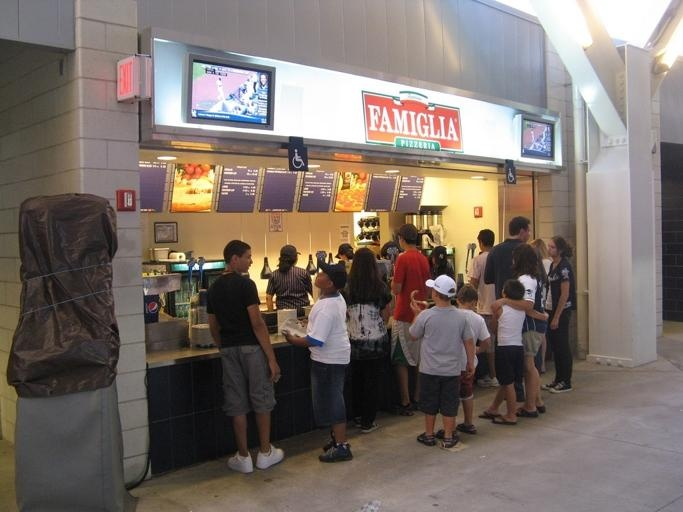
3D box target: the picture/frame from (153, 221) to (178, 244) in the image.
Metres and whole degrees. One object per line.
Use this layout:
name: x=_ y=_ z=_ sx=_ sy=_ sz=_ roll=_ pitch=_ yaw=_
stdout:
picture/frame: x=-2.304 y=-0.321 z=6.954 sx=0.253 sy=0.260 sz=0.020 roll=6 pitch=1 yaw=-37

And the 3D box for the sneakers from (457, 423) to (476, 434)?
sneakers: x=1.163 y=1.596 z=5.013 sx=0.080 sy=0.069 sz=0.161 roll=-3 pitch=9 yaw=-40

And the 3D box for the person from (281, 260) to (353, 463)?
person: x=-0.179 y=0.872 z=4.635 sx=0.502 sy=1.682 sz=0.416 roll=-2 pitch=3 yaw=0

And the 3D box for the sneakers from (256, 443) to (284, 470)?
sneakers: x=-0.595 y=1.669 z=4.516 sx=0.103 sy=0.139 sz=0.277 roll=5 pitch=8 yaw=30

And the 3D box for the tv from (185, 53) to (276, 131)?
tv: x=-0.991 y=-1.409 z=4.608 sx=0.709 sy=0.536 sz=0.098 roll=-3 pitch=8 yaw=-33

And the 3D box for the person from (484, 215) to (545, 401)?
person: x=1.666 y=0.885 z=5.262 sx=0.493 sy=1.397 sz=0.418 roll=-2 pitch=2 yaw=-18

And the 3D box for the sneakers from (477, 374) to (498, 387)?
sneakers: x=1.749 y=1.492 z=6.483 sx=0.237 sy=0.121 sz=0.111 roll=0 pitch=2 yaw=27

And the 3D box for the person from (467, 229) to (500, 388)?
person: x=1.705 y=0.482 z=6.679 sx=0.436 sy=1.591 sz=0.468 roll=6 pitch=11 yaw=38

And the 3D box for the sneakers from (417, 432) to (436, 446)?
sneakers: x=0.745 y=1.622 z=4.821 sx=0.076 sy=0.076 sz=0.169 roll=-1 pitch=5 yaw=-21

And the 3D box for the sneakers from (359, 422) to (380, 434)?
sneakers: x=0.264 y=1.624 z=5.153 sx=0.070 sy=0.089 sz=0.197 roll=3 pitch=5 yaw=33

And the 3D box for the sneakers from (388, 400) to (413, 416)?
sneakers: x=0.605 y=1.592 z=5.638 sx=0.283 sy=0.090 sz=0.106 roll=-2 pitch=1 yaw=37

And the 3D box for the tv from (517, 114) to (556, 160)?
tv: x=2.638 y=-1.633 z=7.348 sx=0.659 sy=0.503 sz=0.096 roll=-1 pitch=3 yaw=-38

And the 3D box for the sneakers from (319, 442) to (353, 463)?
sneakers: x=-0.039 y=1.641 z=4.544 sx=0.341 sy=0.185 sz=0.124 roll=0 pitch=-3 yaw=12

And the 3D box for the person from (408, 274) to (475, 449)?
person: x=0.882 y=0.915 z=4.723 sx=0.543 sy=1.502 sz=0.266 roll=-1 pitch=3 yaw=13

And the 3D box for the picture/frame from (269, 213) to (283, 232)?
picture/frame: x=-0.987 y=-0.502 z=7.895 sx=0.261 sy=0.339 sz=0.032 roll=1 pitch=0 yaw=-39

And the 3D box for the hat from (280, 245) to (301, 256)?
hat: x=-0.577 y=-0.065 z=5.909 sx=0.130 sy=0.107 sz=0.184 roll=7 pitch=13 yaw=35

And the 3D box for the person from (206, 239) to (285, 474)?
person: x=-0.819 y=0.809 z=4.439 sx=0.593 sy=1.878 sz=0.301 roll=-2 pitch=3 yaw=-4

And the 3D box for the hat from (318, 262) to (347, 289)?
hat: x=-0.066 y=0.155 z=4.552 sx=0.271 sy=0.248 sz=0.175 roll=-4 pitch=4 yaw=-35

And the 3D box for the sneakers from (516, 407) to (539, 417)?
sneakers: x=1.847 y=1.564 z=5.346 sx=0.206 sy=0.085 sz=0.086 roll=3 pitch=4 yaw=20

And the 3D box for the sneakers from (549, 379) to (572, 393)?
sneakers: x=2.487 y=1.489 z=6.172 sx=0.275 sy=0.121 sz=0.108 roll=2 pitch=-2 yaw=9

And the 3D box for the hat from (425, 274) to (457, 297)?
hat: x=0.872 y=0.245 z=4.706 sx=0.161 sy=0.130 sz=0.241 roll=-4 pitch=29 yaw=-38

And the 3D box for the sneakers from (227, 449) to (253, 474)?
sneakers: x=-0.858 y=1.682 z=4.440 sx=0.102 sy=0.126 sz=0.260 roll=-4 pitch=6 yaw=-43
